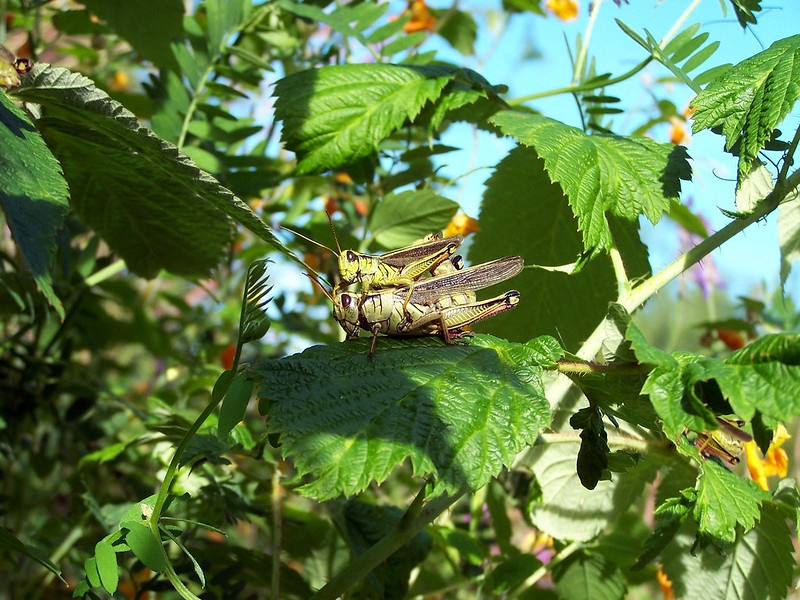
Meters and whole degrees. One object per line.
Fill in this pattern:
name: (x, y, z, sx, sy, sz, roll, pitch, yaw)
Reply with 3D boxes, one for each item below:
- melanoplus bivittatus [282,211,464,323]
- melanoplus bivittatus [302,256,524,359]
melanoplus bivittatus: (-0.029, -0.070, 1.949, 0.287, 0.151, 0.169, 7, -7, -4)
melanoplus bivittatus: (0.040, 0.008, 1.893, 0.203, 0.388, 0.178, -134, -142, -77)
